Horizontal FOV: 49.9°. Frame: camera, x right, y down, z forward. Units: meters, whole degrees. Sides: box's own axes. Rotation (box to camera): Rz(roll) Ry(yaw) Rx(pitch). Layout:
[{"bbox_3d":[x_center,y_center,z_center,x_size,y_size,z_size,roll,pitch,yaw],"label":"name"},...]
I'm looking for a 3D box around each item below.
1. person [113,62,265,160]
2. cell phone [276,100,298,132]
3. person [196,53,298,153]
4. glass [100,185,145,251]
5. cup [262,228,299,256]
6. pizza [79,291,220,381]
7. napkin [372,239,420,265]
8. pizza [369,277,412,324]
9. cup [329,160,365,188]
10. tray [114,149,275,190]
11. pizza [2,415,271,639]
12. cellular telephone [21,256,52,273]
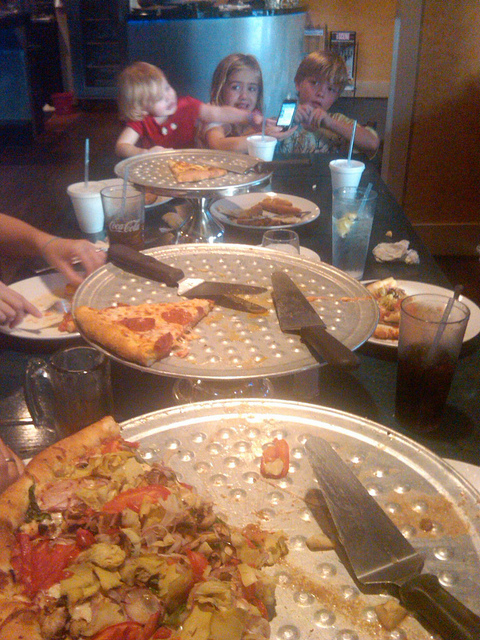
[{"bbox_3d":[-0.311,-1.098,2.676,0.791,0.417,0.227,-17,34,-32],"label":"person"},{"bbox_3d":[0.191,-0.845,2.105,0.063,0.096,0.063,13,30,18],"label":"cell phone"},{"bbox_3d":[0.017,-1.198,2.637,0.687,0.340,0.892,4,33,-3],"label":"person"},{"bbox_3d":[-0.266,-0.218,1.191,0.099,0.141,0.095,-1,16,-7],"label":"glass"},{"bbox_3d":[0.086,-0.162,1.063,0.073,0.034,0.086,4,27,2],"label":"cup"},{"bbox_3d":[-0.143,0.001,0.672,0.162,0.031,0.181,8,24,10],"label":"pizza"},{"bbox_3d":[0.376,-0.158,1.221,0.076,0.023,0.068,1,40,7],"label":"napkin"},{"bbox_3d":[0.253,-0.031,0.942,0.102,0.031,0.095,0,29,2],"label":"pizza"},{"bbox_3d":[0.315,-0.419,1.504,0.090,0.070,0.090,2,34,-1],"label":"cup"},{"bbox_3d":[-0.100,-0.338,1.151,0.362,0.027,0.342,7,33,8],"label":"tray"},{"bbox_3d":[-0.086,0.175,0.414,0.205,0.040,0.192,-5,28,-15],"label":"pizza"},{"bbox_3d":[-0.550,-0.148,1.321,0.296,0.015,0.041,13,60,51],"label":"cellular telephone"}]
